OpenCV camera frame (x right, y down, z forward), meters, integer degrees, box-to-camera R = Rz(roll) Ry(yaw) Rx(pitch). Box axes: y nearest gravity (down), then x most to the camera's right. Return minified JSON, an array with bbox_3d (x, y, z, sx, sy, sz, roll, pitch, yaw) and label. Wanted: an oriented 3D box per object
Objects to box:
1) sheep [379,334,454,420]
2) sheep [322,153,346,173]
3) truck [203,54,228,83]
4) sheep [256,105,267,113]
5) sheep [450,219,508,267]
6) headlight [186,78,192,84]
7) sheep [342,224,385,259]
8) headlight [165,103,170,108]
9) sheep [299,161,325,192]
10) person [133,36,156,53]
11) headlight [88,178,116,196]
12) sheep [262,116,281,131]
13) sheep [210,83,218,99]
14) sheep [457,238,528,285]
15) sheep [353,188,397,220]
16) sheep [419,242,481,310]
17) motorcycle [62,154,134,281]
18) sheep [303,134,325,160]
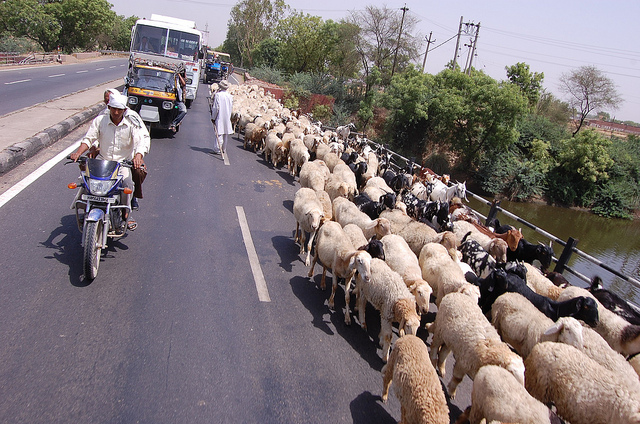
[{"bbox_3d":[1.705,2.992,6.935,0.484,0.959,1.634,-4,43,-11],"label":"sheep"},{"bbox_3d":[0.447,-2.056,15.534,0.417,0.744,1.303,-18,39,-17],"label":"sheep"},{"bbox_3d":[-11.187,-15.119,41.454,2.349,2.996,3.427,4,20,-17],"label":"truck"},{"bbox_3d":[-3.683,-6.633,24.780,0.545,0.295,0.704,-7,11,-39],"label":"sheep"},{"bbox_3d":[4.281,0.728,10.461,0.539,1.023,1.871,-16,34,-18],"label":"sheep"},{"bbox_3d":[-7.782,-7.775,23.092,0.170,0.356,0.389,24,24,34],"label":"headlight"},{"bbox_3d":[1.077,0.704,9.409,0.434,0.912,1.196,-22,52,-13],"label":"sheep"},{"bbox_3d":[-6.460,-4.464,16.339,0.173,0.170,0.061,-5,25,-36],"label":"headlight"},{"bbox_3d":[-0.181,-1.127,13.165,0.495,0.760,1.410,-17,39,-8],"label":"sheep"},{"bbox_3d":[-9.418,-8.985,20.701,1.005,0.754,0.385,2,22,-23],"label":"person"},{"bbox_3d":[-4.588,-0.519,8.148,0.475,0.310,0.299,-1,22,-28],"label":"headlight"},{"bbox_3d":[-2.602,-4.647,20.131,0.521,0.667,1.279,-12,34,-25],"label":"sheep"},{"bbox_3d":[-7.668,-8.955,28.231,0.770,1.276,0.341,0,1,39],"label":"sheep"},{"bbox_3d":[4.198,1.225,9.413,0.309,0.735,0.964,-25,46,-24],"label":"sheep"},{"bbox_3d":[1.908,-0.138,11.841,0.506,1.071,1.502,4,5,-12],"label":"sheep"},{"bbox_3d":[2.791,1.459,9.004,0.669,1.057,1.970,0,28,-22],"label":"sheep"},{"bbox_3d":[-4.674,0.056,8.327,1.191,2.299,1.784,-1,22,-28],"label":"motorcycle"},{"bbox_3d":[-0.366,-3.135,17.757,0.572,0.903,1.450,-9,41,-11],"label":"sheep"}]
